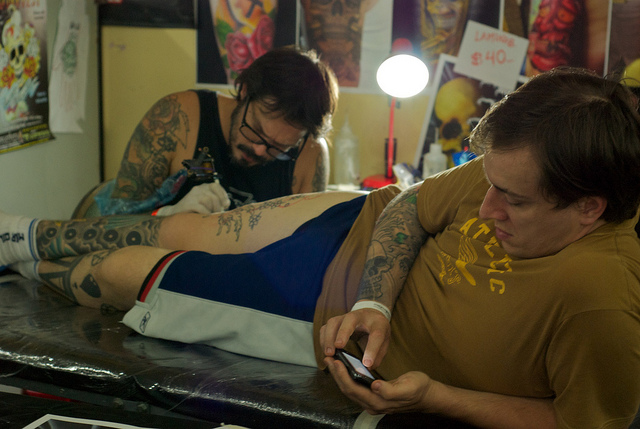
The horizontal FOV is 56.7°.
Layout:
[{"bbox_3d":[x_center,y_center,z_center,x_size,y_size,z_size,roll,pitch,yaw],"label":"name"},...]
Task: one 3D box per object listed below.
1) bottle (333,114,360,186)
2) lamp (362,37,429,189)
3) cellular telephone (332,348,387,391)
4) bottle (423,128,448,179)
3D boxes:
[{"bbox_3d":[0.168,-0.389,3.555,0.168,0.421,0.095,5,5,0],"label":"bottle"},{"bbox_3d":[0.428,-0.579,3.338,0.294,0.876,0.387,5,5,3],"label":"lamp"},{"bbox_3d":[0.090,0.420,1.635,0.105,0.092,0.128,3,5,-17],"label":"cellular telephone"},{"bbox_3d":[0.681,-0.349,3.480,0.166,0.343,0.168,-4,18,1],"label":"bottle"}]
